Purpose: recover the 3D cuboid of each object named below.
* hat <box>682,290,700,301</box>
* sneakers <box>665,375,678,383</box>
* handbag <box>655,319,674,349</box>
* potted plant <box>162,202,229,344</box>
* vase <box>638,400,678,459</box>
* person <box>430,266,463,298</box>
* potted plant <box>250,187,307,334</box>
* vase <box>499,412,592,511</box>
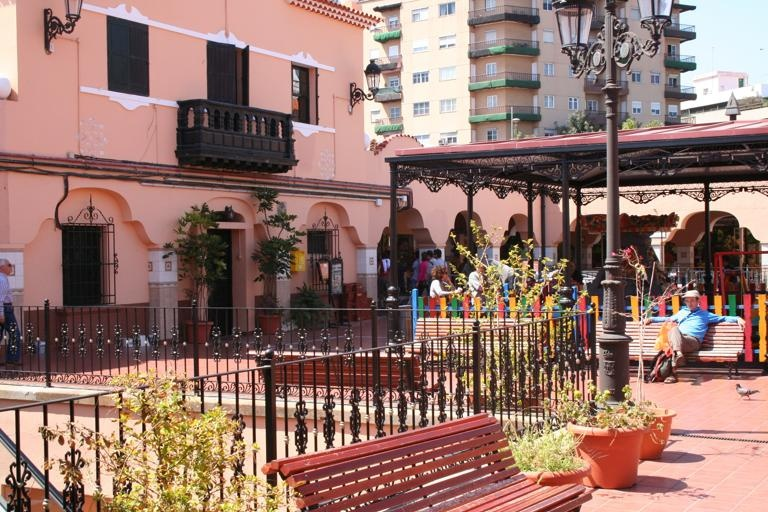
[{"bbox_3d":[6.249,0.804,20.726,0.342,0.163,0.513,-4,-7,24],"label":"hat"},{"bbox_3d":[5.632,2.415,20.020,0.099,0.118,0.280,-2,-7,41],"label":"sneakers"},{"bbox_3d":[5.510,1.573,20.037,0.145,0.478,0.373,6,1,-13],"label":"handbag"},{"bbox_3d":[-4.518,0.144,26.083,1.226,2.952,1.927,-3,-3,16],"label":"potted plant"},{"bbox_3d":[4.249,2.769,15.890,0.712,0.607,0.755,-1,3,16],"label":"vase"},{"bbox_3d":[1.371,0.619,22.235,0.634,0.963,0.683,-2,5,-4],"label":"person"},{"bbox_3d":[-2.887,0.122,27.468,1.258,3.849,2.034,-2,-3,-5],"label":"potted plant"},{"bbox_3d":[2.335,3.044,15.003,1.086,0.848,1.170,0,-6,-1],"label":"vase"}]
